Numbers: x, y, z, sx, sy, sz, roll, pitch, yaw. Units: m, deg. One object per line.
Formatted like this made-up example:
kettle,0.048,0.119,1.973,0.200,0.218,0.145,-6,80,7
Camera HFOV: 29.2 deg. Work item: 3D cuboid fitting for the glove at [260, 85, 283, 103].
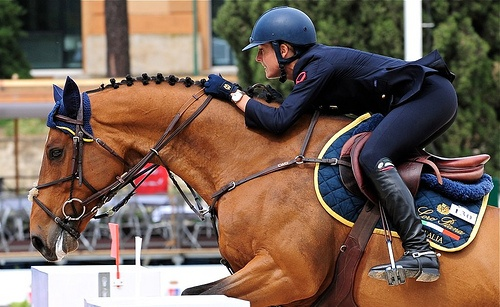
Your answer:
glove,0.374,-0.971,16.334,0.196,0.459,0.170,-41,-21,16
